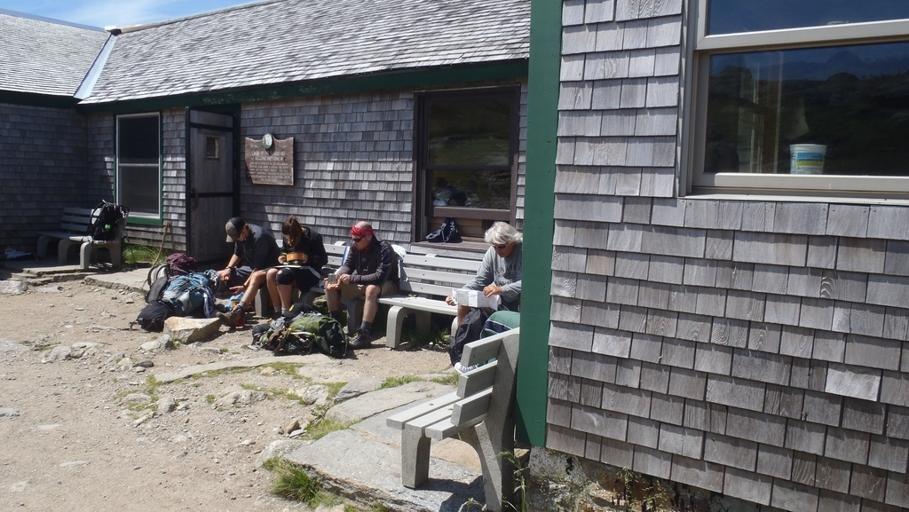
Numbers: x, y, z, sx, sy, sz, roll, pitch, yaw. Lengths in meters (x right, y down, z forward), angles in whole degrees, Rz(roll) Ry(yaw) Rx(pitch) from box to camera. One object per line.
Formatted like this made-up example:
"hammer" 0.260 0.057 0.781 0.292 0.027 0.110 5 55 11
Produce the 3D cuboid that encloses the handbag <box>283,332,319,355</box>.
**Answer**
"handbag" -2.092 1.163 7.851 0.484 0.307 0.137 3 5 10

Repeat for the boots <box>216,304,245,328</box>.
"boots" -3.437 0.915 8.816 0.284 0.215 0.430 -4 -8 10

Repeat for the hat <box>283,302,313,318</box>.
"hat" -2.251 0.776 8.321 0.308 0.118 0.251 -4 5 -44

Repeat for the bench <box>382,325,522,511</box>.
"bench" 0.067 1.147 5.402 1.312 1.603 1.819 1 0 26

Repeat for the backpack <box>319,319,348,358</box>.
"backpack" -1.620 1.093 7.787 0.399 0.492 0.239 2 5 -7

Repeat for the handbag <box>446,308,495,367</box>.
"handbag" 0.122 0.898 6.710 0.367 0.683 0.492 26 -22 -8

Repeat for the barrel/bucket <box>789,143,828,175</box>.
"barrel/bucket" 2.596 -0.712 4.251 0.234 0.208 0.230 1 1 0

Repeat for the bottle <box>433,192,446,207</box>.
"bottle" -0.251 -0.908 9.248 0.226 0.229 0.140 3 5 11

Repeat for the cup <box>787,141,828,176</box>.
"cup" 2.595 -0.709 4.253 0.237 0.215 0.229 2 2 0

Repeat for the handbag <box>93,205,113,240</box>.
"handbag" -7.239 -0.703 11.832 0.421 0.706 0.175 1 6 -21

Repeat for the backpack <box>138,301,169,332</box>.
"backpack" -4.533 0.907 8.795 0.388 0.495 0.227 11 -29 5

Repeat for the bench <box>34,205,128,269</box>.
"bench" -8.165 -0.428 12.456 2.501 1.001 0.884 7 17 33

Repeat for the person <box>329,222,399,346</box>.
"person" -1.368 0.369 8.605 0.807 1.733 0.984 6 6 32

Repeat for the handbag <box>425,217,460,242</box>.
"handbag" -0.161 -0.372 9.075 0.437 0.408 0.406 9 -1 39

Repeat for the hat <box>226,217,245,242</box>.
"hat" -3.535 -0.425 9.261 0.251 0.375 0.435 0 6 -25

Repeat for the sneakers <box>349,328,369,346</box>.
"sneakers" -1.344 1.145 8.215 0.146 0.160 0.390 -1 -6 19
